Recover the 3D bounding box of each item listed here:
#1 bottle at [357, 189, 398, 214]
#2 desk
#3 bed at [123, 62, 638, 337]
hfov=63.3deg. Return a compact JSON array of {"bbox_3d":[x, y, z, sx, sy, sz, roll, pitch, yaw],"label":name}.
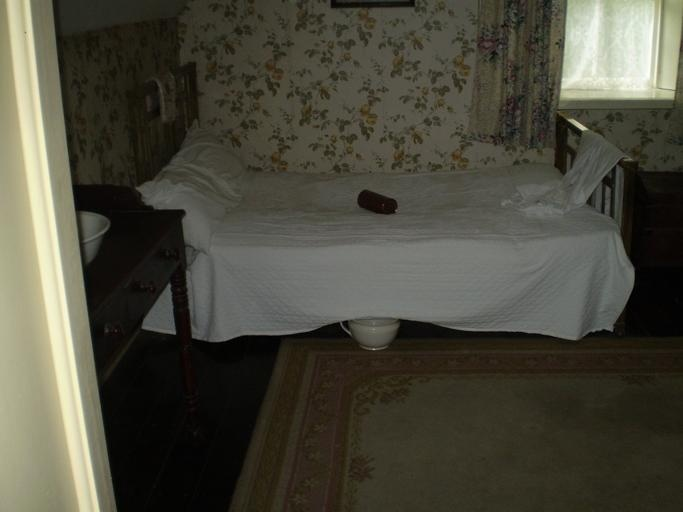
[{"bbox_3d":[0.188,-0.290,3.011,0.121,0.126,0.261,-11,21,-41],"label":"bottle"},{"bbox_3d":[-0.651,0.162,1.823,0.260,0.435,0.685,-3,33,-5],"label":"desk"},{"bbox_3d":[0.279,-0.131,2.771,1.837,0.761,1.281,-3,39,2],"label":"bed"}]
